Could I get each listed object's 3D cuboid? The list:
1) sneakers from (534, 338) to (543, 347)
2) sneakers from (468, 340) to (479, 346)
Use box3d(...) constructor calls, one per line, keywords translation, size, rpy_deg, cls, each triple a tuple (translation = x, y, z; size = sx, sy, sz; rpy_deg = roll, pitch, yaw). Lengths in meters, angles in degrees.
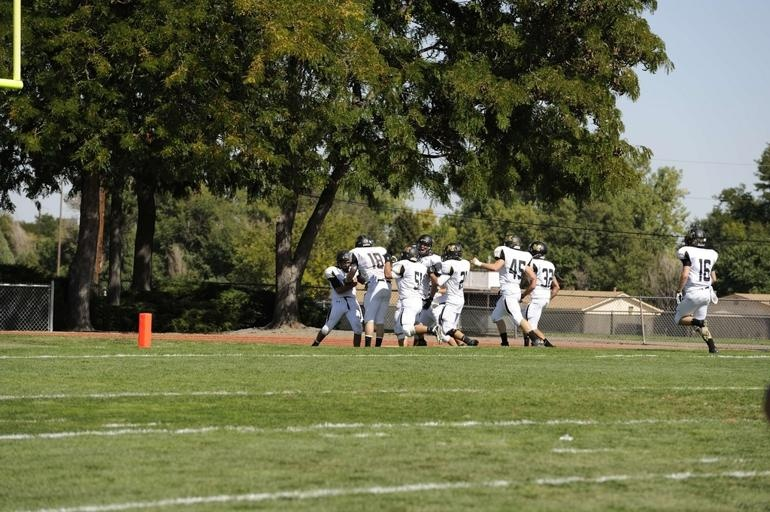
box3d(translation=(3.639, 2.058, 24.449), size=(0.251, 0.255, 0.191), rpy_deg=(2, -5, -5), cls="sneakers")
box3d(translation=(2.128, 2.110, 24.969), size=(0.159, 0.087, 0.186), rpy_deg=(-2, 5, -20), cls="sneakers")
